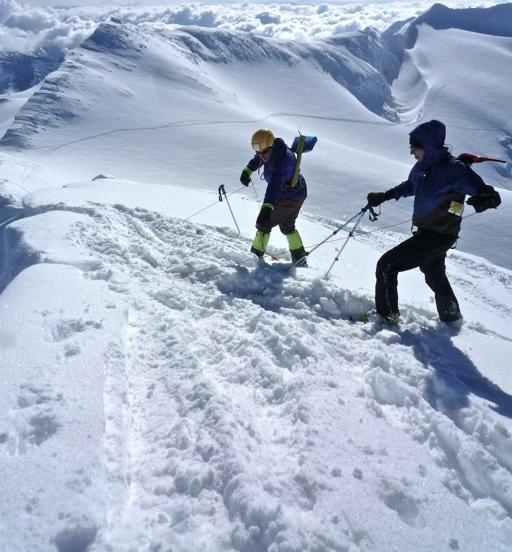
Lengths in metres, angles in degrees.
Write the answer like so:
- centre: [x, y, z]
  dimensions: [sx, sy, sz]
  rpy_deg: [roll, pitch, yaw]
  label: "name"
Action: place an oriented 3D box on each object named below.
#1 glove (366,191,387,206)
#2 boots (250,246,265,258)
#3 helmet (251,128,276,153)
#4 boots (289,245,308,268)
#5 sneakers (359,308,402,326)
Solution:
- centre: [1.245, -0.815, 6.118]
  dimensions: [0.210, 0.072, 0.155]
  rpy_deg: [-8, 5, 29]
  label: "glove"
- centre: [0.042, -0.283, 6.672]
  dimensions: [0.150, 0.096, 0.131]
  rpy_deg: [12, -3, 2]
  label: "boots"
- centre: [0.085, -1.461, 6.313]
  dimensions: [0.240, 0.302, 0.237]
  rpy_deg: [12, 31, -2]
  label: "helmet"
- centre: [0.503, -0.231, 6.829]
  dimensions: [0.233, 0.259, 0.163]
  rpy_deg: [-27, 0, 12]
  label: "boots"
- centre: [1.196, 0.403, 5.602]
  dimensions: [0.192, 0.197, 0.080]
  rpy_deg: [-26, 22, 17]
  label: "sneakers"
